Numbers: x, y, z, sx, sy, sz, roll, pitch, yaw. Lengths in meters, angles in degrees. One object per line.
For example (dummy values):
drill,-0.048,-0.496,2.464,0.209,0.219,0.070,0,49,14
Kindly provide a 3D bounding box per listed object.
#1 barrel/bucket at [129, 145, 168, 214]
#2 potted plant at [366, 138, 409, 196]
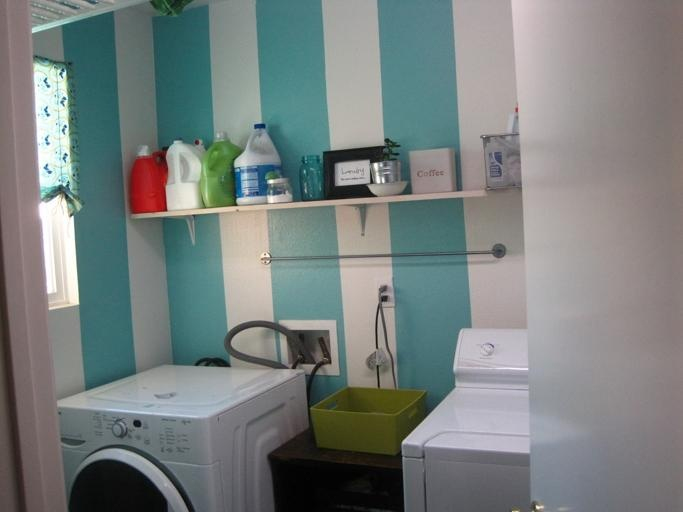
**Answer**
barrel/bucket,-0.881,-0.349,2.587,0.167,0.308,0.084,-6,4,-16
potted plant,0.155,-0.334,2.312,0.216,0.270,0.223,1,-1,1
